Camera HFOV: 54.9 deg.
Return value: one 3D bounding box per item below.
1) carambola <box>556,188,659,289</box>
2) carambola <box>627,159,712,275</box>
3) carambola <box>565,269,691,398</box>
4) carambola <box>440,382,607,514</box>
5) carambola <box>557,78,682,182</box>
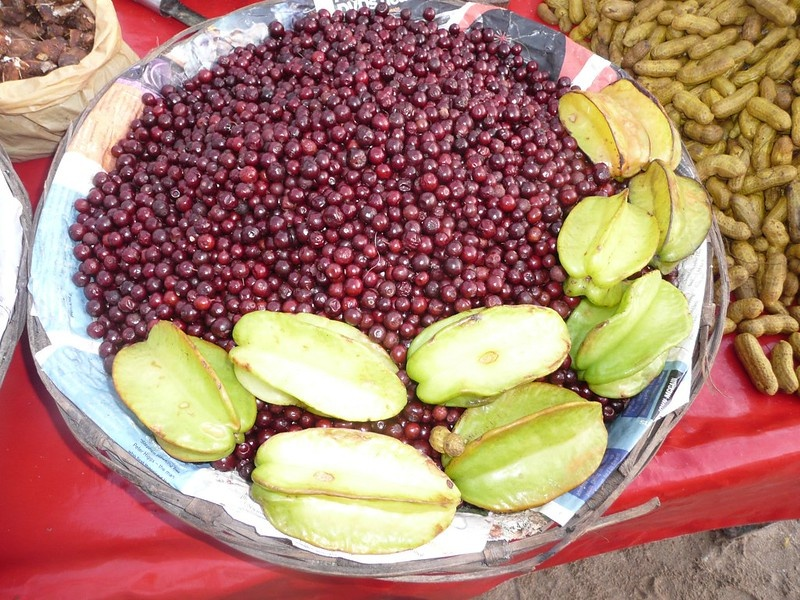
[{"bbox_3d":[0.705,-0.203,2.623,0.290,0.140,0.361,13,79,16],"label":"carambola"},{"bbox_3d":[0.946,-0.272,2.700,0.301,0.147,0.368,14,85,-20],"label":"carambola"},{"bbox_3d":[0.801,0.142,2.718,0.346,0.140,0.468,43,89,10],"label":"carambola"},{"bbox_3d":[0.336,0.515,2.602,0.537,0.172,0.392,8,64,-46],"label":"carambola"},{"bbox_3d":[0.807,-0.623,2.753,0.343,0.099,0.382,-11,92,-3],"label":"carambola"}]
